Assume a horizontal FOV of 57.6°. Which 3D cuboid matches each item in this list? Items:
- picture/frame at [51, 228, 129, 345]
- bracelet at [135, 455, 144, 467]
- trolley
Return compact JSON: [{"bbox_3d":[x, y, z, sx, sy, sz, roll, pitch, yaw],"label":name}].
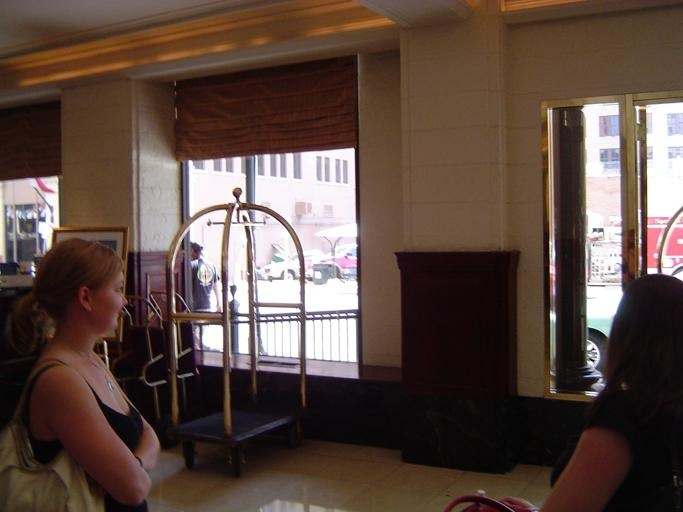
[{"bbox_3d":[-2.613,0.366,6.740,1.207,1.524,0.063,1,32,46],"label":"picture/frame"},{"bbox_3d":[-0.656,0.662,2.012,0.011,0.044,0.046,-35,-6,-12],"label":"bracelet"},{"bbox_3d":[-0.815,0.610,4.962,0.711,1.989,1.060,-3,-2,33],"label":"trolley"}]
